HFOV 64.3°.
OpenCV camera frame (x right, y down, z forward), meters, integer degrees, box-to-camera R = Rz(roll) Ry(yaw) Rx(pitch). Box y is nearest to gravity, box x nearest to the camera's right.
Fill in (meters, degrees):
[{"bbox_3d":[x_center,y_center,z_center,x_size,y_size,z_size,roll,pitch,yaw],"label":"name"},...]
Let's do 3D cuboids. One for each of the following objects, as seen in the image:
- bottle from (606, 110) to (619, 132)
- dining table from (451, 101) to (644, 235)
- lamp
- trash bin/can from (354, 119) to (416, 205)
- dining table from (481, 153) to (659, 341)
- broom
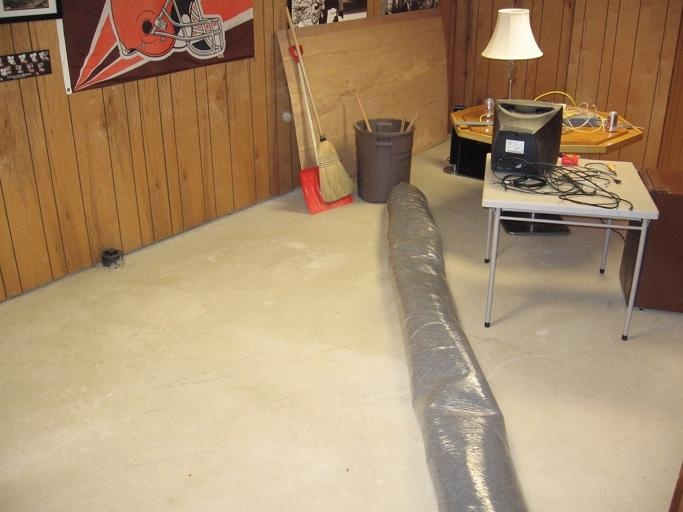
[{"bbox_3d":[2.481,-1.233,4.944,0.092,0.154,0.198,11,26,25],"label":"bottle"},{"bbox_3d":[1.896,-1.221,5.448,1.603,1.110,1.672,2,29,7],"label":"dining table"},{"bbox_3d":[1.538,-1.978,4.829,0.492,0.393,0.258,8,25,18],"label":"lamp"},{"bbox_3d":[0.406,-1.043,5.696,0.705,0.795,0.785,3,25,5],"label":"trash bin/can"},{"bbox_3d":[1.722,-0.266,4.292,1.182,1.035,1.744,6,25,14],"label":"dining table"},{"bbox_3d":[-0.189,-1.464,5.344,0.401,1.783,0.614,-15,27,-30],"label":"broom"}]
